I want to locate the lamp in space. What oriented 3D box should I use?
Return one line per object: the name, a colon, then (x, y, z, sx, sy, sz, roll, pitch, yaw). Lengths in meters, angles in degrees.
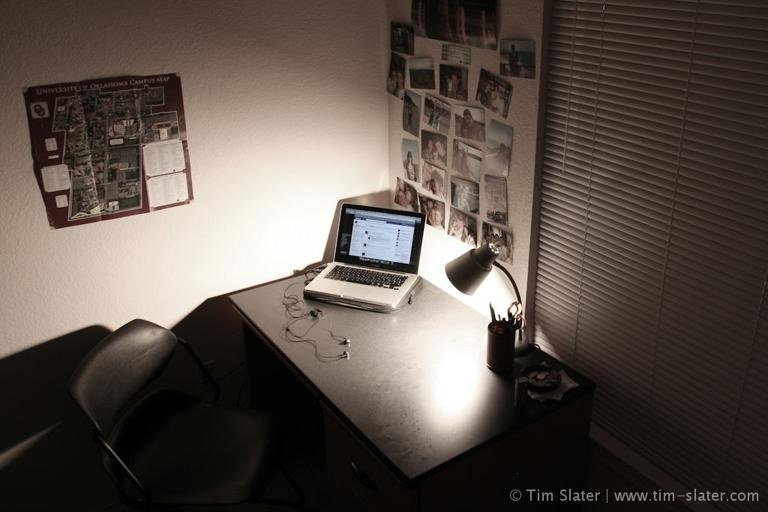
lamp: (0.512, 0.177, 2.702, 0.446, 0.565, 0.224, 8, 39, 10)
